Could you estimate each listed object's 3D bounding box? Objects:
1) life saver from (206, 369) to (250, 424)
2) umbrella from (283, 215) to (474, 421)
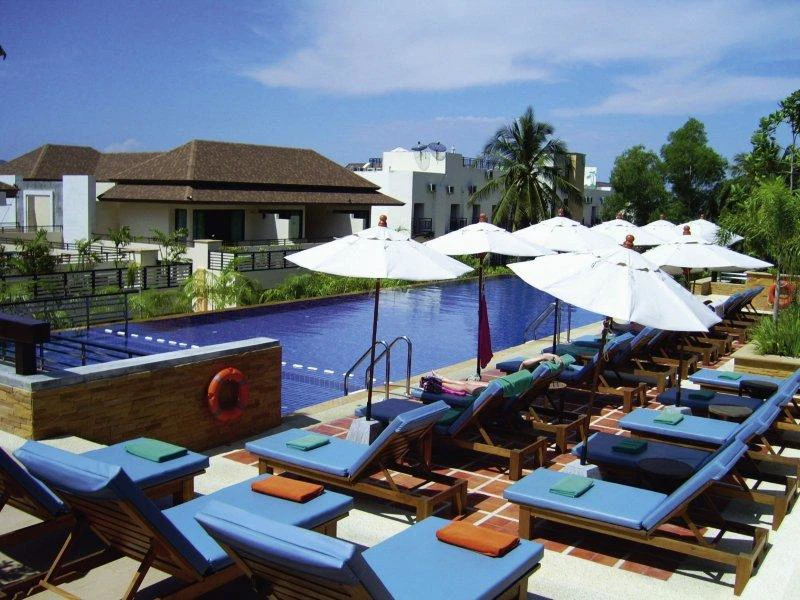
[{"bbox_3d":[-2.272,1.258,8.303,0.179,0.751,0.589,6,12,36],"label":"life saver"},{"bbox_3d":[-0.430,-0.040,8.548,2.428,2.602,2.671,4,10,18],"label":"umbrella"}]
